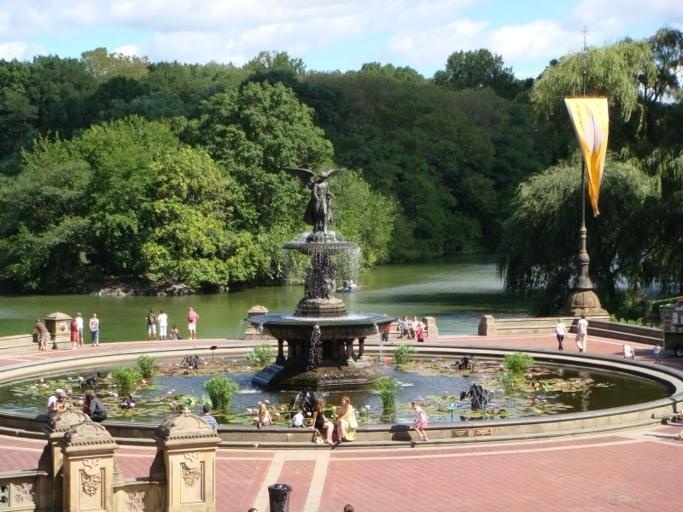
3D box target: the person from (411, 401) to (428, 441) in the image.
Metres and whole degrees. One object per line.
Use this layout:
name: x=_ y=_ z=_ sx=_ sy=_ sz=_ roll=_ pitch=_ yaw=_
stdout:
person: x=2.823 y=5.892 z=46.814 sx=0.521 sy=1.376 sz=0.532 roll=-2 pitch=3 yaw=-3

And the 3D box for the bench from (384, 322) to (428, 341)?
bench: x=3.357 y=3.651 z=63.156 sx=1.314 sy=0.879 sz=1.371 roll=0 pitch=-2 yaw=1

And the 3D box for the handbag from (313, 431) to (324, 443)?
handbag: x=-0.810 y=6.447 z=46.517 sx=0.287 sy=0.348 sz=0.192 roll=6 pitch=17 yaw=28

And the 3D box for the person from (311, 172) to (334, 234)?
person: x=-0.827 y=-2.155 z=54.887 sx=0.746 sy=2.423 sz=0.912 roll=-2 pitch=3 yaw=-4

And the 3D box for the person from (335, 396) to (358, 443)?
person: x=0.157 y=5.846 z=46.651 sx=0.855 sy=1.584 sz=0.530 roll=-2 pitch=3 yaw=-5

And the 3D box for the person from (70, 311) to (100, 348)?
person: x=-12.844 y=3.816 z=65.985 sx=1.450 sy=1.988 sz=0.492 roll=0 pitch=3 yaw=-5

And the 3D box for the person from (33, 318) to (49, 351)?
person: x=-14.104 y=3.768 z=62.139 sx=0.645 sy=1.409 sz=0.832 roll=-3 pitch=3 yaw=-15

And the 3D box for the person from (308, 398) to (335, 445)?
person: x=-0.657 y=5.959 z=46.811 sx=0.756 sy=1.411 sz=1.006 roll=-2 pitch=3 yaw=-1

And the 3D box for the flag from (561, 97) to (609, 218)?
flag: x=12.364 y=-5.043 z=65.321 sx=1.757 sy=5.576 sz=0.672 roll=-1 pitch=3 yaw=10
